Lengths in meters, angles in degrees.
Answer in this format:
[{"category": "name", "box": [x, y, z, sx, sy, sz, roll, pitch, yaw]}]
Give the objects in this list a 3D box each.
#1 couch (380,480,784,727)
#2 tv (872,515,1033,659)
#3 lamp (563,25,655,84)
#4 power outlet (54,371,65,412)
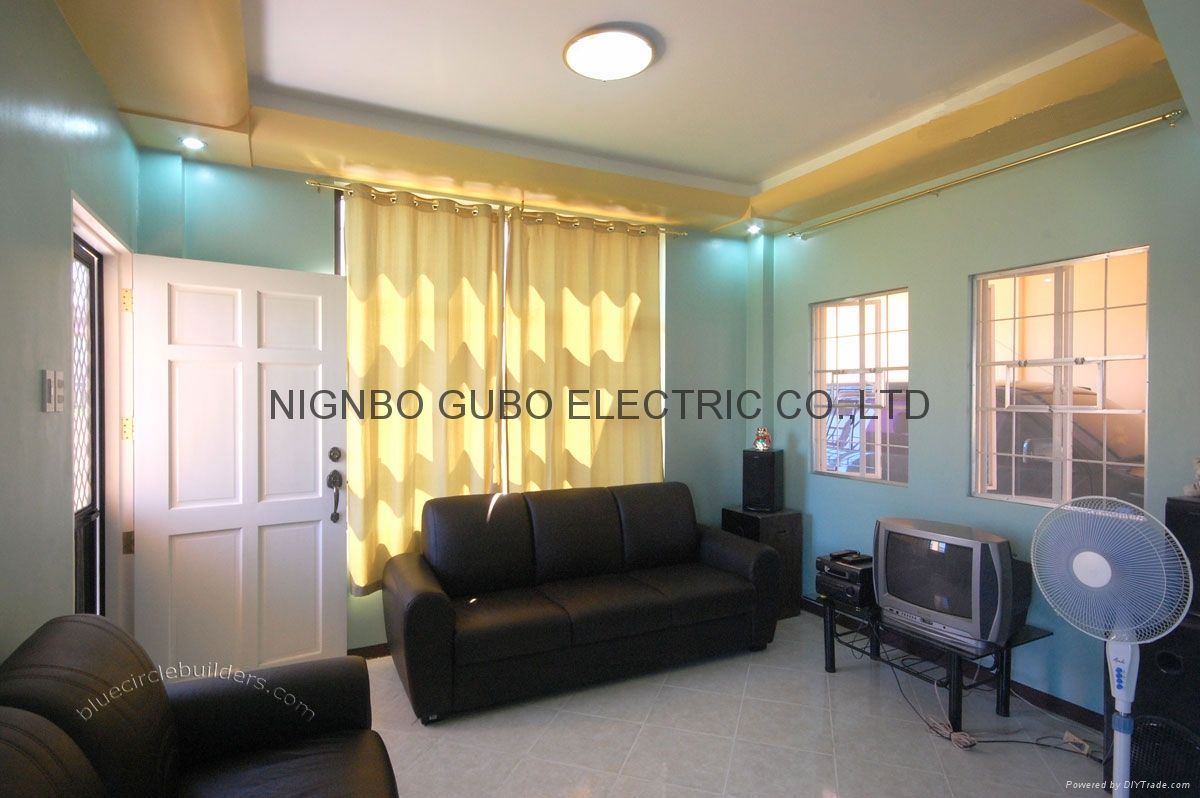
[{"category": "couch", "box": [-0.089, 1.357, 5.957, 2.713, 1.212, 1.155, -3, 5, -25]}, {"category": "tv", "box": [2.256, 0.976, 5.361, 0.620, 0.910, 1.063, 1, -1, -34]}, {"category": "lamp", "box": [0.062, -2.048, 4.857, 0.543, 0.265, 0.352, -2, 1, 7]}, {"category": "power outlet", "box": [-2.738, -0.035, 4.179, 0.023, 0.228, 0.084, -2, 1, -15]}]
